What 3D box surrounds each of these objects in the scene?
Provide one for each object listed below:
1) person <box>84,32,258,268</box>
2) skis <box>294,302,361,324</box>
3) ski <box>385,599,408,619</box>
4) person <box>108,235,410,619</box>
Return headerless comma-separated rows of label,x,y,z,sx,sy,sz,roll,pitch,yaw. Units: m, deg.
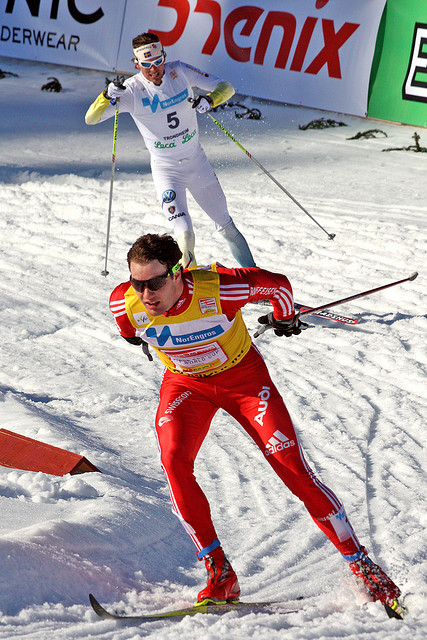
person,-0.378,-1.229,4.329,1.197,1.474,0.910,16,9,23
skis,0.854,-0.042,4.350,0.547,0.074,0.045,18,9,28
ski,0.553,0.886,1.755,0.041,0.016,0.051,-13,30,-18
person,0.106,0.333,2.014,0.928,1.444,0.543,-2,21,28
